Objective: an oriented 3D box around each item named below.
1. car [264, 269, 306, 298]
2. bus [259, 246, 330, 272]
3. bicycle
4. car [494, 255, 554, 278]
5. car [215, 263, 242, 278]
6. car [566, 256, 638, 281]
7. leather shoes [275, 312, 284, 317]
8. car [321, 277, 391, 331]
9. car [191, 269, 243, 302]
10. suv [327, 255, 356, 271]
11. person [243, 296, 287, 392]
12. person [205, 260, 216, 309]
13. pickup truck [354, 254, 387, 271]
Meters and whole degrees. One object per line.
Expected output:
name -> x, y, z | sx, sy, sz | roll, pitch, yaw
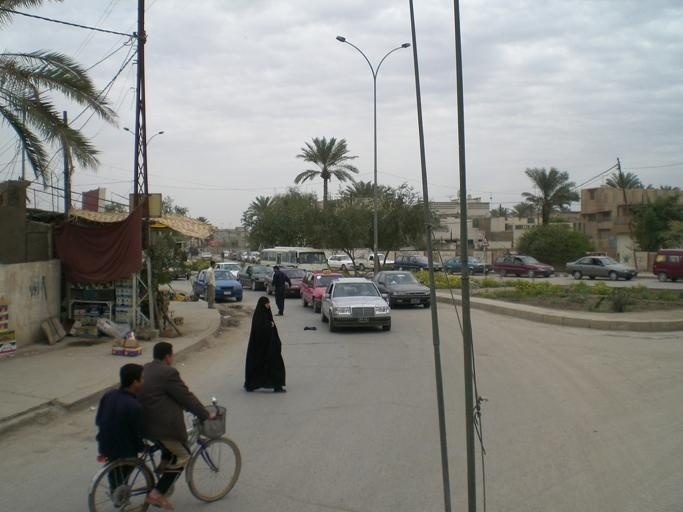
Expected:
car -> -2.626, 1.276, 33.074 | 1.082, 1.019, 2.701 | -1, 1, -21
bus -> -3.291, 0.076, 42.725 | 1.671, 1.857, 5.630 | -3, 4, -31
bicycle -> -2.458, 2.669, 9.098 | 2.130, 1.517, 1.067 | -9, 8, -28
car -> 12.192, 0.679, 44.475 | 1.569, 1.281, 3.491 | 0, -2, -34
car -> -7.159, 0.714, 43.029 | 1.132, 1.106, 2.125 | -2, -1, -27
car -> 16.054, 0.771, 41.202 | 1.519, 1.422, 3.960 | 1, -3, -33
leather shoes -> -2.194, 2.077, 23.980 | 0.117, 0.163, 0.355 | 0, -9, 41
car -> 0.415, 1.459, 20.402 | 1.760, 1.586, 2.400 | -3, -1, -12
car -> -5.671, 1.375, 31.242 | 1.188, 0.987, 2.675 | 0, -2, -26
suv -> -0.057, 0.554, 59.515 | 1.058, 0.917, 2.359 | -2, 2, -31
person -> -1.522, 1.704, 13.026 | 0.788, 1.803, 0.504 | -3, 0, -6
person -> -5.266, 1.226, 27.000 | 0.314, 1.790, 0.948 | -3, -1, -15
pickup truck -> 2.263, 0.485, 57.424 | 1.380, 0.995, 2.345 | -1, -3, -41
